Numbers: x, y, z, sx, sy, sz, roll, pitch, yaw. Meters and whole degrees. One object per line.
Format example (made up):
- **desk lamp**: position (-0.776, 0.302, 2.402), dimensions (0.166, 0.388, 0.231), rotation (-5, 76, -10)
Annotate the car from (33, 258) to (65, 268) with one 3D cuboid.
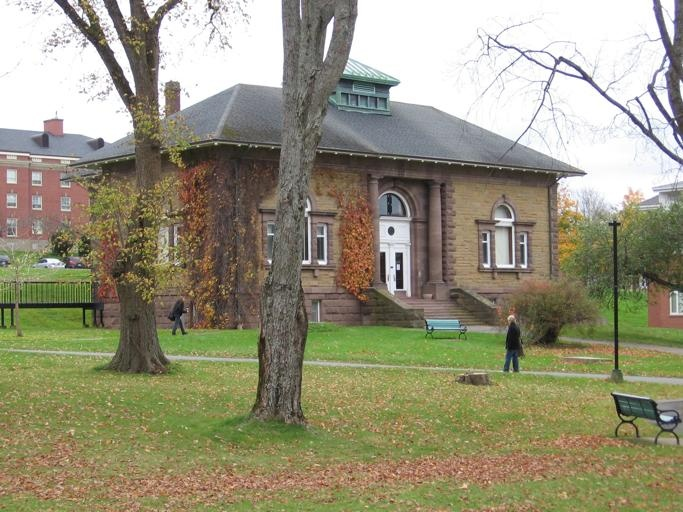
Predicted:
- **car**: position (-24.098, 0.704, 93.374), dimensions (2.066, 0.686, 0.962), rotation (2, 1, 35)
